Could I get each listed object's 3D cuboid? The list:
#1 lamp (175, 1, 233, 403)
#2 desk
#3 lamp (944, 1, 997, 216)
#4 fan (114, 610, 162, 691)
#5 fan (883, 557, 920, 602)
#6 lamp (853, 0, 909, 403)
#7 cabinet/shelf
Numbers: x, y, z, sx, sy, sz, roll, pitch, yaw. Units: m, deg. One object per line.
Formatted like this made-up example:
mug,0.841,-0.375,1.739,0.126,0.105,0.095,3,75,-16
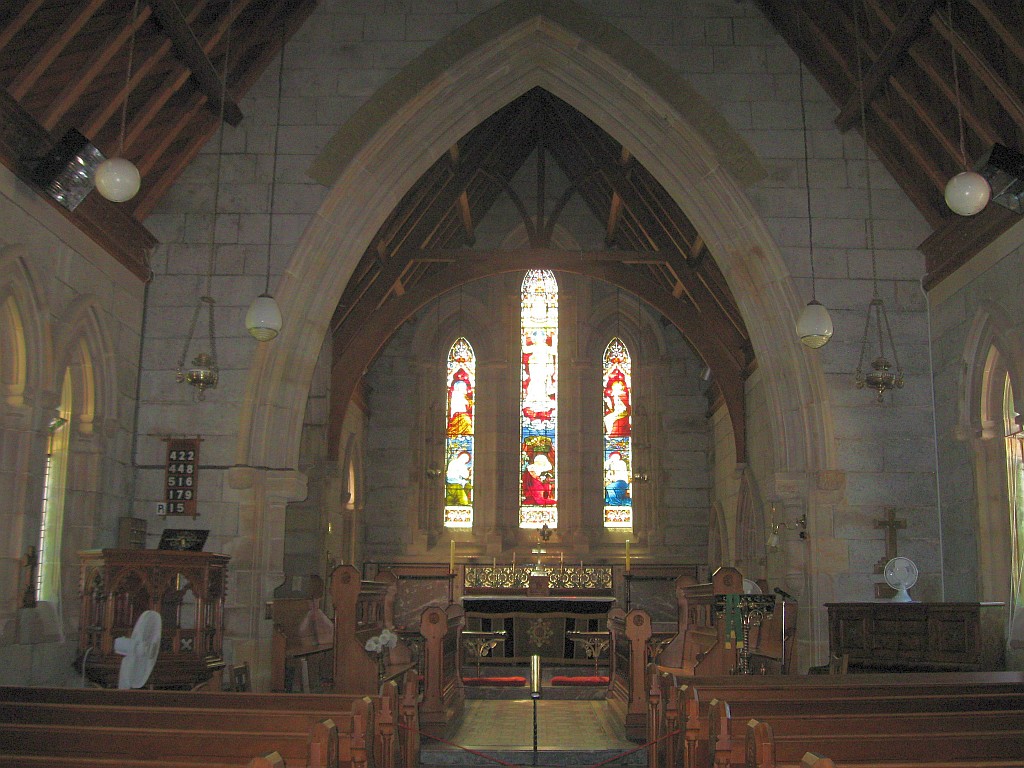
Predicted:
lamp,-3.376,-1.756,13.798,0.443,3.730,1.635,4,-17,-15
desk,3.908,2.448,12.204,0.365,0.809,2.023,8,-19,-26
lamp,4.353,-2.495,12.069,0.368,2.265,1.422,-7,-18,22
fan,-3.318,2.368,11.107,0.220,0.643,0.637,14,-15,-30
fan,4.182,2.118,13.451,0.417,0.605,0.255,0,-33,10
lamp,3.941,-1.681,13.816,0.473,3.602,1.660,-5,-17,16
cabinet/shelf,-3.494,2.195,12.133,1.370,1.220,1.439,3,-6,-25
